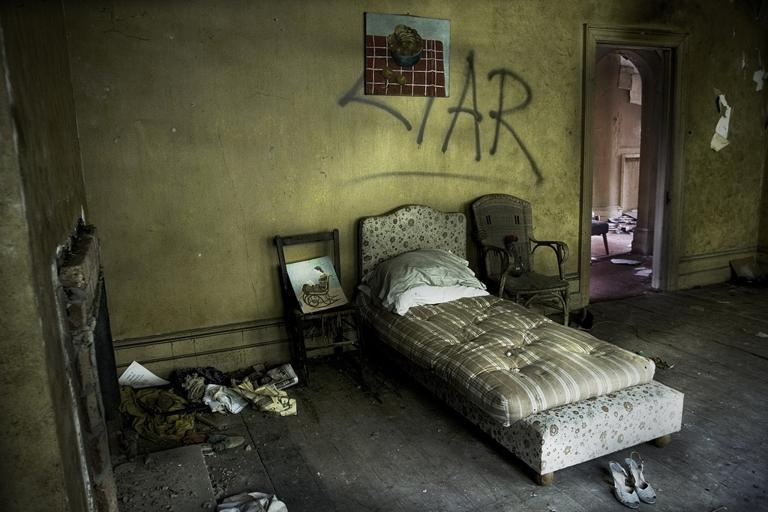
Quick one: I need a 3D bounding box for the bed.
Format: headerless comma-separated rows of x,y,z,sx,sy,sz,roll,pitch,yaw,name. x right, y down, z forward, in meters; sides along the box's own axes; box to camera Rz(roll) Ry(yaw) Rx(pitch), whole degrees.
0.872,0.481,4.513,1.454,1.280,2.394,-9,18,-30,bed

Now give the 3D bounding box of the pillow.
0.385,0.184,4.858,0.765,0.221,0.653,-10,24,-14,pillow

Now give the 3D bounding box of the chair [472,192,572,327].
1.265,0.054,5.433,0.784,1.117,0.828,-9,18,-28,chair
